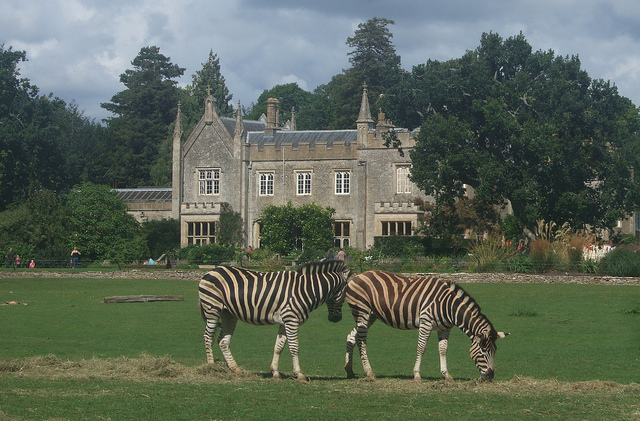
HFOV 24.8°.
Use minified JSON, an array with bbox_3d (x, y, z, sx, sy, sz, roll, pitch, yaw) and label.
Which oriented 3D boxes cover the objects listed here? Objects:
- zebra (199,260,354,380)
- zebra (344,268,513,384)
[{"bbox_3d":[-2.056,5.246,66.916,4.997,4.014,1.704,1,-10,1],"label":"zebra"},{"bbox_3d":[4.597,5.363,66.772,6.542,4.987,3.515,0,-4,3],"label":"zebra"}]
